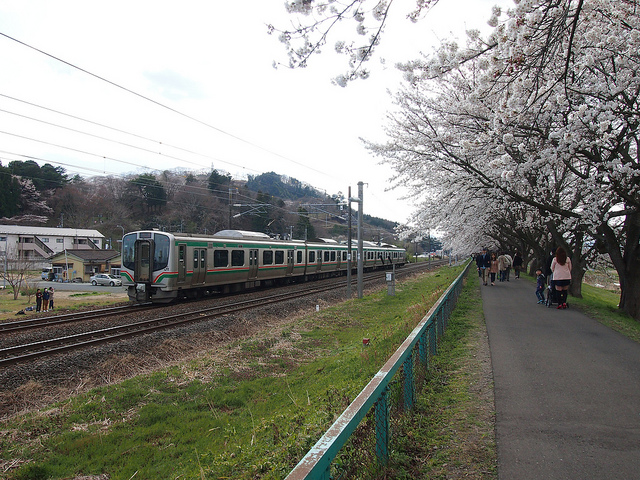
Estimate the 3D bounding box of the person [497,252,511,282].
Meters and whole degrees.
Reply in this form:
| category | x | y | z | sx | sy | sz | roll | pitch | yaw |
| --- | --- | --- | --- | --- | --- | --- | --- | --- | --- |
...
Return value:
| category | x | y | z | sx | sy | sz | roll | pitch | yaw |
| --- | --- | --- | --- | --- | --- | --- | --- | --- | --- |
| person | 9.218 | 1.397 | 21.437 | 0.502 | 1.542 | 1.435 | -4 | 6 | 23 |

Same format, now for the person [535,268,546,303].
| category | x | y | z | sx | sy | sz | roll | pitch | yaw |
| --- | --- | --- | --- | --- | --- | --- | --- | --- | --- |
| person | 7.222 | 1.516 | 14.030 | 0.223 | 0.920 | 1.282 | -3 | 6 | 27 |

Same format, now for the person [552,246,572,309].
| category | x | y | z | sx | sy | sz | roll | pitch | yaw |
| --- | --- | --- | --- | --- | --- | --- | --- | --- | --- |
| person | 6.846 | 1.103 | 12.122 | 0.438 | 1.926 | 1.164 | -3 | 6 | 29 |

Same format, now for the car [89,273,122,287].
| category | x | y | z | sx | sy | sz | roll | pitch | yaw |
| --- | --- | --- | --- | --- | --- | --- | --- | --- | --- |
| car | -20.493 | 3.883 | 40.885 | 3.521 | 0.994 | 1.073 | -5 | 5 | 24 |

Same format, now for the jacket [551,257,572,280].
| category | x | y | z | sx | sy | sz | roll | pitch | yaw |
| --- | --- | --- | --- | --- | --- | --- | --- | --- | --- |
| jacket | 6.620 | 0.787 | 11.786 | 0.494 | 0.667 | 0.386 | 4 | 19 | 29 |

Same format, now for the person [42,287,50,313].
| category | x | y | z | sx | sy | sz | roll | pitch | yaw |
| --- | --- | --- | --- | --- | --- | --- | --- | --- | --- |
| person | -13.043 | 2.865 | 20.354 | 0.344 | 1.005 | 1.124 | -9 | 5 | -27 |

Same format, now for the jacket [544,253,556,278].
| category | x | y | z | sx | sy | sz | roll | pitch | yaw |
| --- | --- | --- | --- | --- | --- | --- | --- | --- | --- |
| jacket | 7.069 | 0.811 | 13.178 | 0.216 | 0.201 | 0.743 | -27 | -1 | 41 |

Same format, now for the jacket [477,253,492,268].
| category | x | y | z | sx | sy | sz | roll | pitch | yaw |
| --- | --- | --- | --- | --- | --- | --- | --- | --- | --- |
| jacket | 7.725 | 0.963 | 20.143 | 0.844 | 0.978 | 0.511 | 0 | 1 | 21 |

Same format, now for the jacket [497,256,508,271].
| category | x | y | z | sx | sy | sz | roll | pitch | yaw |
| --- | --- | --- | --- | --- | --- | --- | --- | --- | --- |
| jacket | 9.010 | 1.156 | 21.182 | 0.326 | 0.828 | 0.868 | -3 | 6 | 27 |
